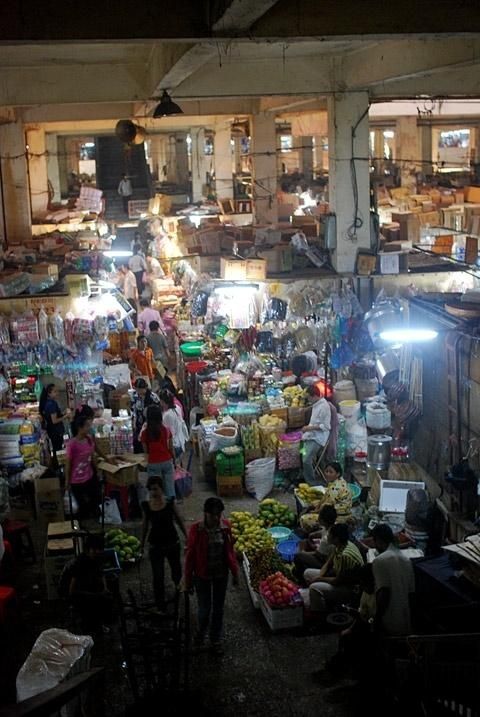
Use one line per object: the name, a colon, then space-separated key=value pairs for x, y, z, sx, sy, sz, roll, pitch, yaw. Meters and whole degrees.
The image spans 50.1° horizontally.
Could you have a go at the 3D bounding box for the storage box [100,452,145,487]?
storage box: x=-1.318 y=1.236 z=5.705 sx=0.382 sy=0.197 sz=0.397 roll=1 pitch=12 yaw=6

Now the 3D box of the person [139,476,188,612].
person: x=-0.595 y=1.468 z=4.053 sx=0.345 sy=1.171 sz=0.585 roll=-6 pitch=11 yaw=-14

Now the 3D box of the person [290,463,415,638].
person: x=0.854 y=1.544 z=4.317 sx=0.720 sy=0.973 sz=0.837 roll=-4 pitch=12 yaw=-17

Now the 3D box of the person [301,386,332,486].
person: x=0.887 y=0.879 z=6.207 sx=0.383 sy=1.144 sz=0.429 roll=-5 pitch=13 yaw=-33

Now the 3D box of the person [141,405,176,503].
person: x=-0.880 y=1.005 z=5.475 sx=0.330 sy=1.165 sz=0.322 roll=-9 pitch=26 yaw=-16

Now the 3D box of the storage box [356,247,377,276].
storage box: x=2.216 y=-1.769 z=9.253 sx=0.370 sy=0.521 sz=0.524 roll=1 pitch=13 yaw=7

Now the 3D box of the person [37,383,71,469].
person: x=-2.563 y=0.919 z=7.087 sx=0.331 sy=1.203 sz=0.571 roll=-8 pitch=11 yaw=-23

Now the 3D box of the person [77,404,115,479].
person: x=-1.722 y=0.883 z=6.067 sx=0.395 sy=0.862 sz=0.426 roll=-11 pitch=18 yaw=-34

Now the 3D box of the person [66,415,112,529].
person: x=-1.750 y=1.208 z=5.740 sx=0.370 sy=1.304 sz=0.684 roll=-7 pitch=11 yaw=-17
